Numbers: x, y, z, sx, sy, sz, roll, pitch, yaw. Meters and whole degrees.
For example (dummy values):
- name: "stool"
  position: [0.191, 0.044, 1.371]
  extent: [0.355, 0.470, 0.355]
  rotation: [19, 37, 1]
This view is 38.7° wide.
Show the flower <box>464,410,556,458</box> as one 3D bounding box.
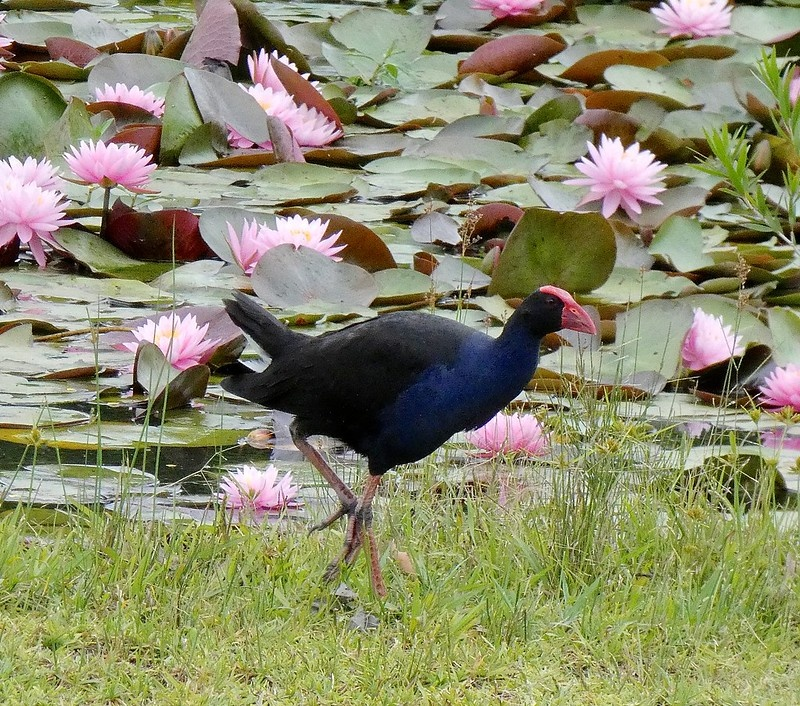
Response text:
- name: "flower"
  position: [0.336, 0.253, 3.663]
  extent: [0.190, 0.084, 0.182]
  rotation: [1, -4, -35]

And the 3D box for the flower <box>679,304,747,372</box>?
- name: "flower"
  position: [1.158, -0.039, 4.185]
  extent: [0.232, 0.228, 0.284]
  rotation: [13, 10, 25]

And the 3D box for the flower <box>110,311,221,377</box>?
- name: "flower"
  position: [-0.827, -0.047, 3.961]
  extent: [0.294, 0.123, 0.223]
  rotation: [8, 18, 28]

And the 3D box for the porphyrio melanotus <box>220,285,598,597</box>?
- name: "porphyrio melanotus"
  position: [-0.025, 0.203, 3.282]
  extent: [1.118, 0.842, 0.327]
  rotation: [8, 6, 24]

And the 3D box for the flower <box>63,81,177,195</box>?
- name: "flower"
  position: [-1.207, -0.854, 4.649]
  extent: [0.400, 0.209, 0.333]
  rotation: [13, 1, 15]

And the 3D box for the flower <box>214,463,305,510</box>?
- name: "flower"
  position: [-0.428, 0.395, 3.435]
  extent: [0.188, 0.080, 0.170]
  rotation: [-7, -7, 45]

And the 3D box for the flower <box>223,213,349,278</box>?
- name: "flower"
  position: [-0.454, -0.446, 4.502]
  extent: [0.381, 0.133, 0.305]
  rotation: [11, -8, -12]
